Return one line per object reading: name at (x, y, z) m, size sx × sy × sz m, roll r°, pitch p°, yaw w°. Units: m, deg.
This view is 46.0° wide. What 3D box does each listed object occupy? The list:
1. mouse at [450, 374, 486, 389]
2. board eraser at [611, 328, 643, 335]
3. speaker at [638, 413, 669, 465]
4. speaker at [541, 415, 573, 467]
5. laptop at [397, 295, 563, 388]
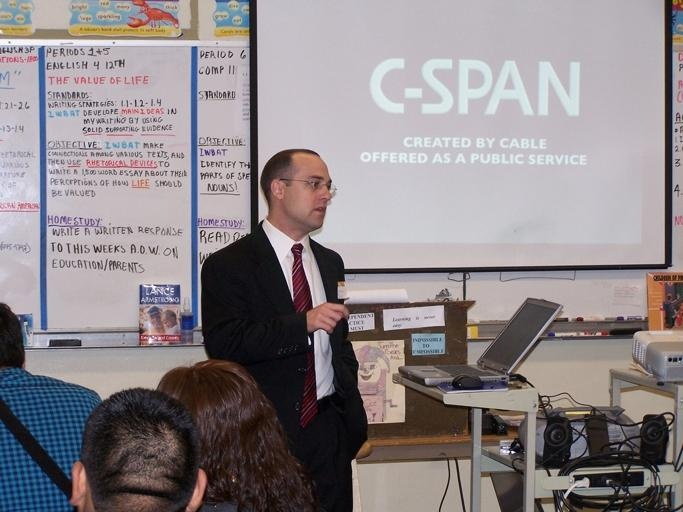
mouse at (0.594, 0.592, 3.788) m, size 0.112 × 0.044 × 0.067 m, roll -2°, pitch 5°, yaw -5°
board eraser at (1.651, 0.446, 4.694) m, size 0.158 × 0.047 × 0.044 m, roll 3°, pitch 8°, yaw -7°
speaker at (1.536, 0.904, 3.993) m, size 0.154 × 0.247 × 0.150 m, roll 2°, pitch 2°, yaw 0°
speaker at (1.040, 0.902, 3.887) m, size 0.159 × 0.230 × 0.074 m, roll 3°, pitch -1°, yaw 8°
laptop at (0.690, 0.431, 4.032) m, size 0.754 × 0.400 × 0.492 m, roll 1°, pitch 0°, yaw -17°
